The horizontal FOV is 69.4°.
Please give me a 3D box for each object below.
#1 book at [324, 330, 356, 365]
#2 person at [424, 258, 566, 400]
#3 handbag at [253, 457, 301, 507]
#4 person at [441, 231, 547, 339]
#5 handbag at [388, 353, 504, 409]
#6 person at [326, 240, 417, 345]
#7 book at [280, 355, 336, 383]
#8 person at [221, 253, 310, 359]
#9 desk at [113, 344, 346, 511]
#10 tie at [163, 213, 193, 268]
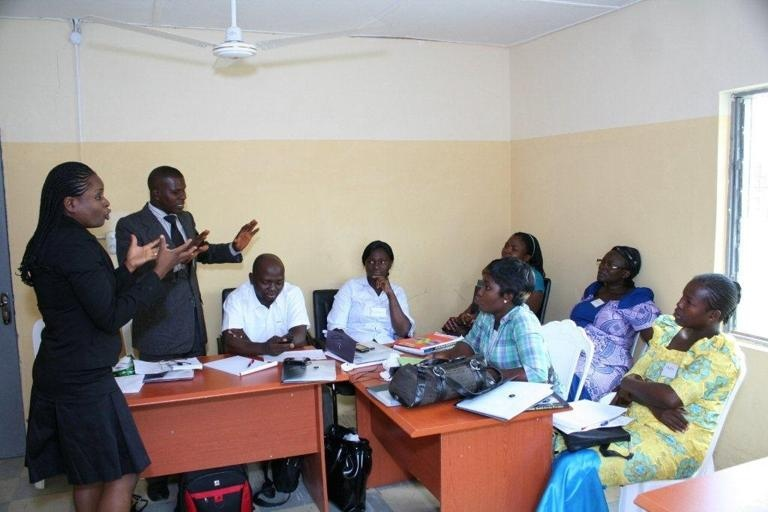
[{"bbox_3d":[-0.272,0.587,3.598,0.172,0.154,0.240,27,-3,-41],"label":"book"},{"bbox_3d":[0.794,0.599,3.494,0.649,1.085,0.716,-5,5,-29],"label":"person"},{"bbox_3d":[-0.729,1.556,3.850,0.370,0.337,0.228,-2,-11,7],"label":"handbag"},{"bbox_3d":[1.001,0.221,4.943,0.859,0.912,0.671,-3,21,-44],"label":"person"},{"bbox_3d":[0.322,0.686,3.087,0.397,0.143,0.328,-2,-7,-23],"label":"handbag"},{"bbox_3d":[-0.122,0.341,4.539,0.686,0.904,0.669,4,4,-26],"label":"person"},{"bbox_3d":[-0.464,0.701,3.469,0.336,0.085,0.349,-4,6,-5],"label":"book"},{"bbox_3d":[-0.843,0.317,3.969,0.611,0.948,0.723,-2,3,-26],"label":"person"},{"bbox_3d":[-1.062,0.965,3.819,1.230,0.892,0.956,-2,10,-16],"label":"desk"},{"bbox_3d":[-1.328,-0.097,3.551,0.080,0.371,0.095,-15,-6,5],"label":"tie"}]
